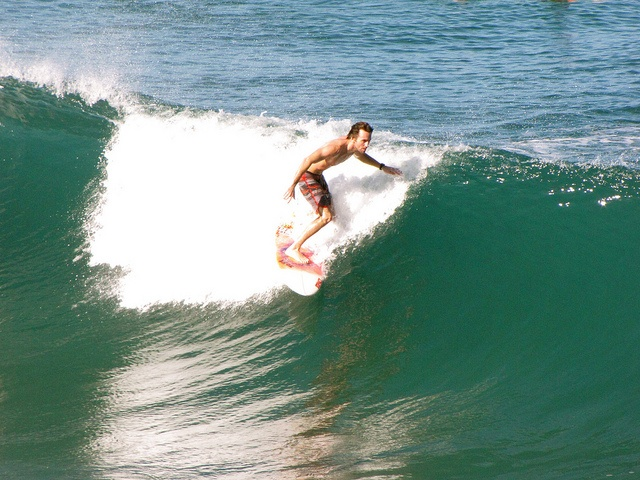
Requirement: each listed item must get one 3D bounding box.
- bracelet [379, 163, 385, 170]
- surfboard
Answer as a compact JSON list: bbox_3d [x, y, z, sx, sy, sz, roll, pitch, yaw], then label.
[{"bbox_3d":[1.048,-1.242,14.866,0.088,0.106,0.100,-7,-41,6],"label":"bracelet"},{"bbox_3d":[-0.277,0.425,15.122,0.737,1.048,0.292,-18,-15,28],"label":"surfboard"}]
